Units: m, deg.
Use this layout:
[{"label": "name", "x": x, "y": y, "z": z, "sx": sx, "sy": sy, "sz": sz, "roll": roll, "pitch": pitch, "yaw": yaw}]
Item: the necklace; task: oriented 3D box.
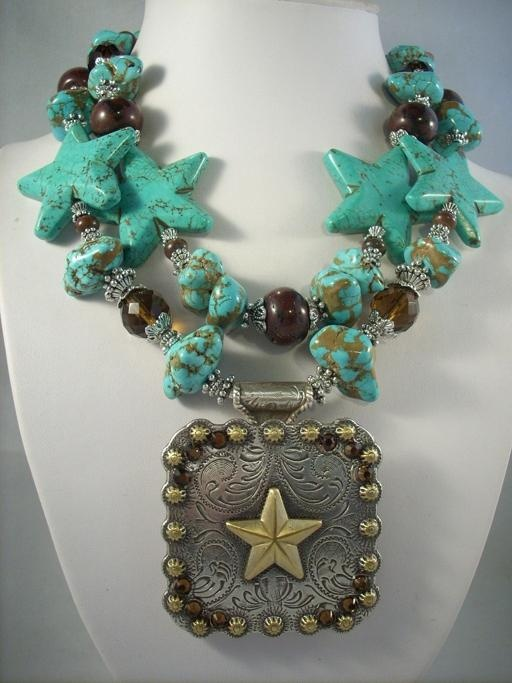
[{"label": "necklace", "x": -0.007, "y": -0.071, "z": 1.384, "sx": 0.866, "sy": 1.002, "sz": 0.599, "roll": 4, "pitch": 10, "yaw": 7}]
